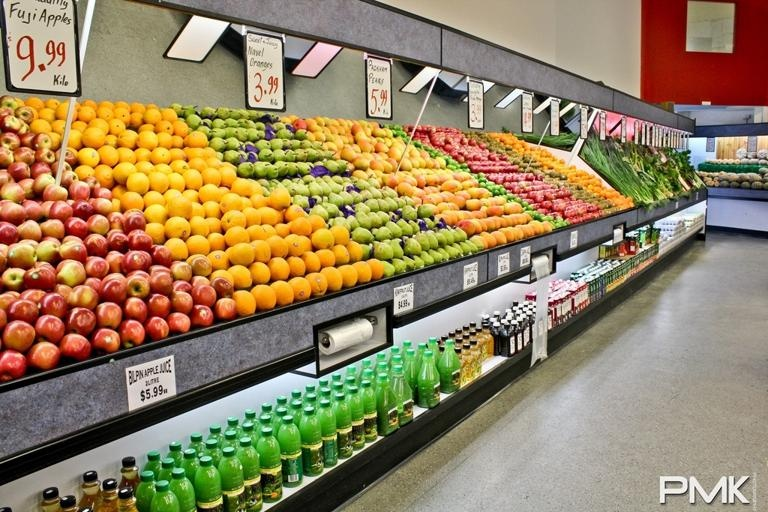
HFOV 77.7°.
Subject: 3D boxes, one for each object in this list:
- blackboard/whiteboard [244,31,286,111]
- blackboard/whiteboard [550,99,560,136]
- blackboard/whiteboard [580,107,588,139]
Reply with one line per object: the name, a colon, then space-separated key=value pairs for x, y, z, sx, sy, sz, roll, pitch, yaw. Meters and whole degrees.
blackboard/whiteboard: x=-0.647 y=-1.007 z=2.566 sx=0.024 sy=0.504 sz=0.366 roll=16 pitch=20 yaw=40
blackboard/whiteboard: x=1.969 y=-1.610 z=5.514 sx=0.051 sy=0.510 sz=0.415 roll=3 pitch=13 yaw=29
blackboard/whiteboard: x=2.458 y=-1.657 z=5.884 sx=0.025 sy=0.329 sz=0.251 roll=5 pitch=25 yaw=28
